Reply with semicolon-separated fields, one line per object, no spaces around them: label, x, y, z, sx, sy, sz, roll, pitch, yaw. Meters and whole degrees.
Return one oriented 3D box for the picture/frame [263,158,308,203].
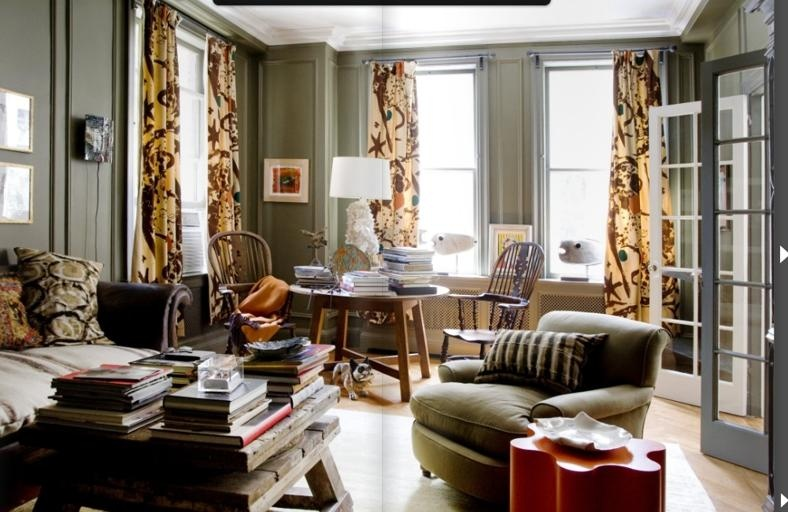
picture/frame;-1.088;-0.768;5.774;0.464;0.444;0.036;0;-4;5

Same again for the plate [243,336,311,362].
plate;-0.529;0.419;2.562;0.160;0.050;0.149;-12;-5;22

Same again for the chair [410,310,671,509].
chair;0.810;0.698;3.333;1.157;1.006;1.138;5;-5;-30

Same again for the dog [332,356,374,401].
dog;-0.349;0.958;4.566;0.193;0.315;0.569;2;0;-28

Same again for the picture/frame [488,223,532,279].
picture/frame;1.063;-0.041;5.147;0.506;0.639;0.066;2;-4;20
